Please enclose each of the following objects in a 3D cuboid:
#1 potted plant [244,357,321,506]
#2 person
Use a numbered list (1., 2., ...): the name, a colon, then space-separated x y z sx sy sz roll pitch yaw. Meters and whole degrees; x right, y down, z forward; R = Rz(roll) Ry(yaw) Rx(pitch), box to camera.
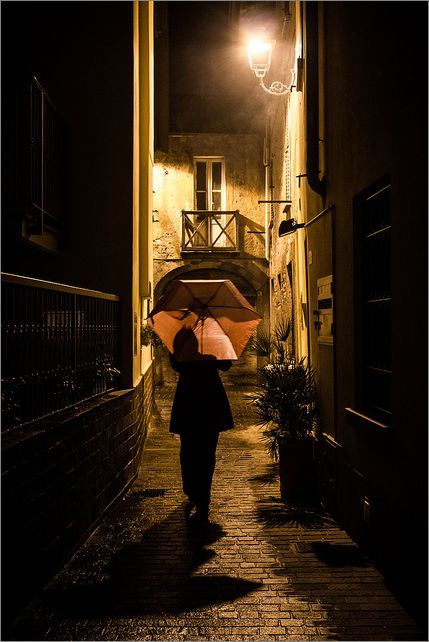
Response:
1. potted plant: 0.785 1.145 5.640 0.681 1.389 0.803 0 1 17
2. person: -0.112 0.992 4.414 0.529 1.407 0.278 0 0 -8
